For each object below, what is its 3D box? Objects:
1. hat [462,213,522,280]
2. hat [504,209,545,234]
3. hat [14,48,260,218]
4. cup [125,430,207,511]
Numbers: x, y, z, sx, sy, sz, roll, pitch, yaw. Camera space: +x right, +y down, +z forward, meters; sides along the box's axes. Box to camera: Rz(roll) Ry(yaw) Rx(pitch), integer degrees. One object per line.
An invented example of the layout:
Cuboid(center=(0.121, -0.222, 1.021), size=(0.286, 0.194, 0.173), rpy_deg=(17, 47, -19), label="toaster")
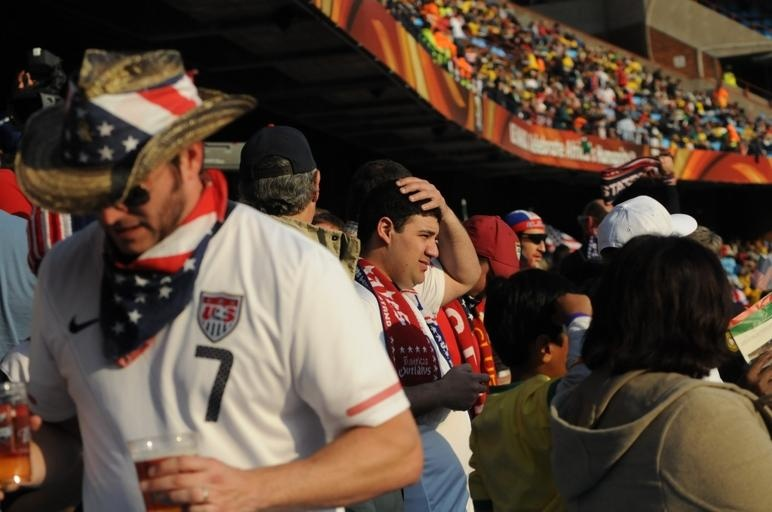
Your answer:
Cuboid(center=(0.790, -0.081, 8.161), size=(0.395, 0.505, 0.489), rpy_deg=(-3, -5, 7), label="hat")
Cuboid(center=(1.180, -0.309, 9.330), size=(0.276, 0.220, 0.197), rpy_deg=(22, 16, 19), label="hat")
Cuboid(center=(-1.264, -0.588, 5.441), size=(0.762, 0.404, 0.914), rpy_deg=(8, 35, 44), label="hat")
Cuboid(center=(-1.109, 1.046, 5.292), size=(0.364, 0.394, 0.353), rpy_deg=(-8, -13, -2), label="cup")
